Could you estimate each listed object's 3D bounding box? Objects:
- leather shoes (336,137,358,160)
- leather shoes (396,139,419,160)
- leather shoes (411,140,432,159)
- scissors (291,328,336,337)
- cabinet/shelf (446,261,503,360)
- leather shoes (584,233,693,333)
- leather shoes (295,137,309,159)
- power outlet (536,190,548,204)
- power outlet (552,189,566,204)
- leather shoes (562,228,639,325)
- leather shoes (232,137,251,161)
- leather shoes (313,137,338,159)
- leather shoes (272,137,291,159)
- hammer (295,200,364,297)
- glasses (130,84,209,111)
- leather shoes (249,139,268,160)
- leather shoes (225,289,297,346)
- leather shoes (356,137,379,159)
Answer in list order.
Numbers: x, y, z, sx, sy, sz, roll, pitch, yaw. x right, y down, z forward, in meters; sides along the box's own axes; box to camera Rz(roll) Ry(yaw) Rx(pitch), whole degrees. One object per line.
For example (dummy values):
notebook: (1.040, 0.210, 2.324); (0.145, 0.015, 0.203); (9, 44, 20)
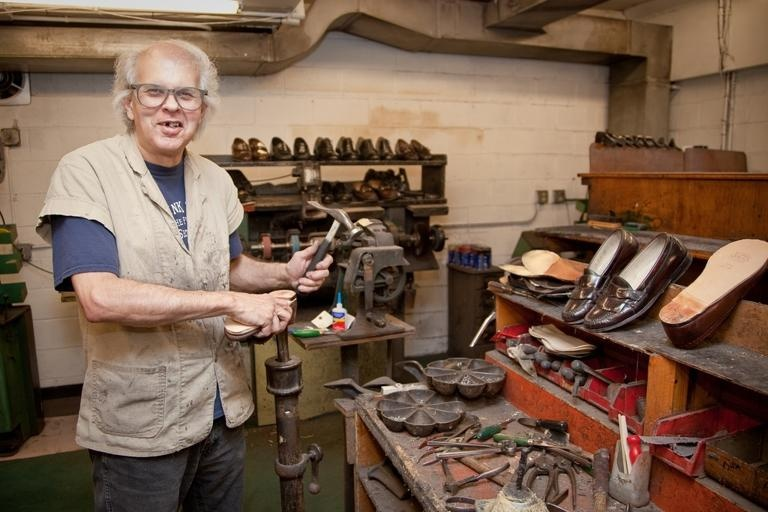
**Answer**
leather shoes: (-0.323, -0.926, 4.601); (0.168, 0.203, 0.307); (0, 10, -6)
leather shoes: (0.196, -0.931, 4.765); (0.135, 0.100, 0.258); (-21, 40, -18)
leather shoes: (0.332, -0.956, 4.866); (0.132, 0.069, 0.240); (-30, 52, -21)
scissors: (-0.468, 0.479, 3.398); (0.185, 0.033, 0.096); (1, -1, -3)
cabinet/shelf: (0.996, 0.524, 5.360); (0.637, 0.832, 0.577); (-1, 6, -4)
leather shoes: (1.040, 0.117, 2.194); (0.513, 0.169, 0.172); (-40, 27, 3)
leather shoes: (-0.690, -0.918, 4.507); (0.103, 0.067, 0.226); (-9, 39, -10)
power outlet: (1.674, -0.644, 5.697); (0.165, 0.141, 0.083); (-1, 2, -14)
power outlet: (1.879, -0.653, 5.757); (0.176, 0.148, 0.085); (0, -4, -19)
leather shoes: (0.986, 0.088, 2.420); (0.558, 0.138, 0.175); (-49, 27, -8)
leather shoes: (-1.152, -0.864, 4.312); (0.129, 0.096, 0.245); (-15, 31, -20)
leather shoes: (-0.479, -0.898, 4.484); (0.117, 0.120, 0.306); (-1, 2, -15)
leather shoes: (-0.855, -0.868, 4.414); (0.145, 0.075, 0.213); (-21, 49, -22)
hammer: (-0.214, -0.043, 2.801); (0.362, 0.211, 0.552); (-27, -10, -16)
glasses: (-0.854, -0.619, 2.097); (0.256, 0.100, 0.077); (-2, 11, -15)
leather shoes: (-1.033, -0.878, 4.395); (0.113, 0.083, 0.291); (-20, 34, -20)
leather shoes: (-0.474, 0.226, 2.121); (0.178, 0.074, 0.299); (6, 13, 27)
leather shoes: (-0.145, -0.940, 4.679); (0.181, 0.201, 0.283); (0, 10, -2)
